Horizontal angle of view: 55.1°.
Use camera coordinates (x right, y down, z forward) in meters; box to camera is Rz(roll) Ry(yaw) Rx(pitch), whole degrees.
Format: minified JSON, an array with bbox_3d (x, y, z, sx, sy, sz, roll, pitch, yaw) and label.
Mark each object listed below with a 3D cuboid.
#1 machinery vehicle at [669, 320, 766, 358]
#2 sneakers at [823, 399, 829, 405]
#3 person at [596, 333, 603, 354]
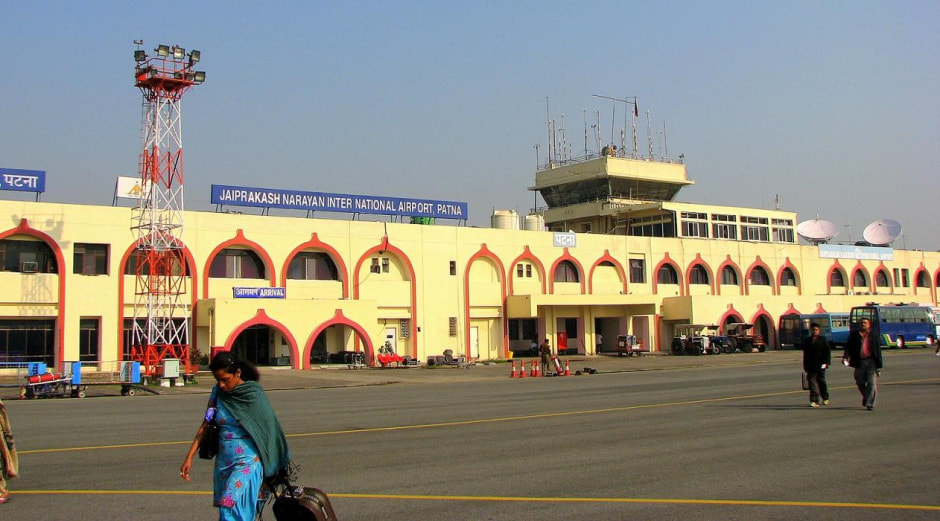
[{"bbox_3d":[20.381,6.454,74.453,7.276,2.346,4.789,0,1,-35],"label":"machinery vehicle"},{"bbox_3d":[14.783,5.859,37.374,0.198,0.227,0.343,-5,-14,3],"label":"sneakers"},{"bbox_3d":[11.210,7.130,78.149,0.442,1.493,2.008,0,0,11],"label":"person"}]
